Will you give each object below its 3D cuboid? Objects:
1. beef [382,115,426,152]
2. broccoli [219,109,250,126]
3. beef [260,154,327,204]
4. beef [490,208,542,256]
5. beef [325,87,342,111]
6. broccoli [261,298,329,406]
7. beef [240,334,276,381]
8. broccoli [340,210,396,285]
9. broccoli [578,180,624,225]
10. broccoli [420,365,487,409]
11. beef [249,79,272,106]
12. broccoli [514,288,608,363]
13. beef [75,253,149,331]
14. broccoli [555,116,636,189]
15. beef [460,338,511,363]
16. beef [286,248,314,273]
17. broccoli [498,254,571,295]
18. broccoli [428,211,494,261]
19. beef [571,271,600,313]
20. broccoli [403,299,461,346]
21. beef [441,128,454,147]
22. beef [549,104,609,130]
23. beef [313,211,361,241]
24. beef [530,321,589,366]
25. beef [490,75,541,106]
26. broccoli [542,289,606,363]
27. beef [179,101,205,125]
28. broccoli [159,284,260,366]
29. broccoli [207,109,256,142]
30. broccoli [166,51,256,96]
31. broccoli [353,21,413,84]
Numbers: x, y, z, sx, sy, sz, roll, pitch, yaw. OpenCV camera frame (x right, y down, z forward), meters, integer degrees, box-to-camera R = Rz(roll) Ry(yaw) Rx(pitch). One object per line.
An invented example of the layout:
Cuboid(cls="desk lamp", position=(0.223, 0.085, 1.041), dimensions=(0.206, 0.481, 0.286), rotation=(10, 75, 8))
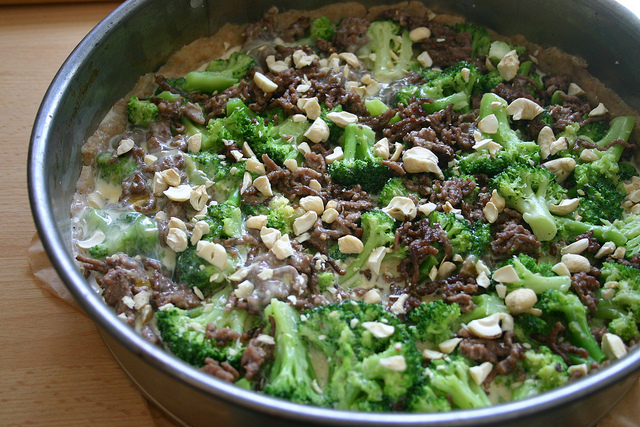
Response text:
Cuboid(cls="beef", position=(0.493, -0.504, 3.330), dimensions=(0.257, 0.089, 0.173), rotation=(-35, 80, -7))
Cuboid(cls="broccoli", position=(-0.494, -0.556, 3.203), dimensions=(0.112, 0.087, 0.061), rotation=(-2, 101, 5))
Cuboid(cls="beef", position=(-0.165, -0.194, 3.242), dimensions=(0.389, 0.069, 0.266), rotation=(27, 79, -2))
Cuboid(cls="beef", position=(1.043, 0.114, 2.964), dimensions=(0.217, 0.097, 0.249), rotation=(24, 70, 26))
Cuboid(cls="beef", position=(0.082, -0.705, 3.380), dimensions=(0.084, 0.037, 0.149), rotation=(12, 68, 0))
Cuboid(cls="broccoli", position=(-0.131, 0.674, 2.711), dimensions=(0.262, 0.189, 0.461), rotation=(-7, 62, -13))
Cuboid(cls="beef", position=(-0.305, 0.707, 2.783), dimensions=(0.124, 0.070, 0.231), rotation=(24, 41, -7))
Cuboid(cls="broccoli", position=(0.258, 0.194, 3.007), dimensions=(0.194, 0.149, 0.355), rotation=(41, 80, -11))
Cuboid(cls="broccoli", position=(1.559, -0.051, 3.098), dimensions=(0.200, 0.093, 0.254), rotation=(-1, 70, 1))
Cuboid(cls="broccoli", position=(0.650, 0.829, 2.664), dimensions=(0.247, 0.083, 0.178), rotation=(20, 51, 15))
Cuboid(cls="beef", position=(-0.353, -0.739, 3.413), dimensions=(0.149, 0.142, 0.044), rotation=(58, 28, -8))
Cuboid(cls="broccoli", position=(1.232, 0.626, 2.868), dimensions=(0.399, 0.228, 0.311), rotation=(31, 72, 27))
Cuboid(cls="beef", position=(-1.029, 0.337, 2.883), dimensions=(0.254, 0.111, 0.462), rotation=(-39, 72, -24))
Cuboid(cls="broccoli", position=(1.622, -0.347, 3.250), dimensions=(0.423, 0.109, 0.425), rotation=(36, 68, 26))
Cuboid(cls="beef", position=(0.816, 0.681, 2.768), dimensions=(0.252, 0.059, 0.108), rotation=(12, 60, 0))
Cuboid(cls="beef", position=(-0.105, 0.246, 2.928), dimensions=(0.136, 0.050, 0.108), rotation=(18, 60, 3))
Cuboid(cls="broccoli", position=(1.168, 0.309, 2.925), dimensions=(0.337, 0.228, 0.120), rotation=(23, 97, 46))
Cuboid(cls="broccoli", position=(0.817, 0.074, 3.199), dimensions=(0.360, 0.593, 0.213), rotation=(8, 104, 7))
Cuboid(cls="beef", position=(1.359, 0.424, 2.920), dimensions=(0.138, 0.047, 0.202), rotation=(-15, 79, -40))
Cuboid(cls="broccoli", position=(0.571, 0.550, 2.851), dimensions=(0.231, 0.175, 0.244), rotation=(-11, 24, 28))
Cuboid(cls="beef", position=(0.734, -0.445, 3.231), dimensions=(0.075, 0.021, 0.083), rotation=(13, 81, -9))
Cuboid(cls="beef", position=(1.521, -0.589, 3.315), dimensions=(0.257, 0.045, 0.165), rotation=(-8, 54, 7))
Cuboid(cls="beef", position=(0.093, 0.066, 3.012), dimensions=(0.202, 0.050, 0.142), rotation=(-14, 64, -5))
Cuboid(cls="beef", position=(1.205, 0.639, 2.779), dimensions=(0.273, 0.112, 0.119), rotation=(40, 63, 15))
Cuboid(cls="beef", position=(1.192, -0.760, 3.436), dimensions=(0.226, 0.058, 0.235), rotation=(-25, 53, -13))
Cuboid(cls="broccoli", position=(1.281, 0.534, 2.873), dimensions=(0.198, 0.126, 0.431), rotation=(-38, 82, 14))
Cuboid(cls="beef", position=(-0.752, -0.613, 3.308), dimensions=(0.160, 0.045, 0.097), rotation=(40, 61, 15))
Cuboid(cls="broccoli", position=(-0.556, 0.572, 2.781), dimensions=(0.352, 0.159, 0.401), rotation=(10, 31, -21))
Cuboid(cls="broccoli", position=(-0.497, -0.530, 3.253), dimensions=(0.195, 0.067, 0.195), rotation=(-24, 29, -23))
Cuboid(cls="broccoli", position=(-0.627, -0.861, 3.438), dimensions=(0.387, 0.102, 0.296), rotation=(-36, 25, -19))
Cuboid(cls="broccoli", position=(0.418, -1.048, 3.781), dimensions=(0.409, 0.104, 0.418), rotation=(-35, 90, -12))
